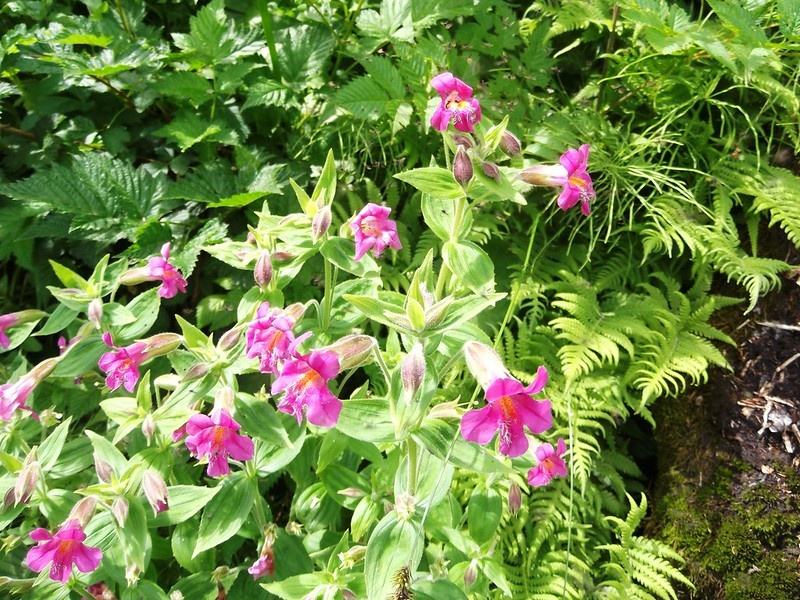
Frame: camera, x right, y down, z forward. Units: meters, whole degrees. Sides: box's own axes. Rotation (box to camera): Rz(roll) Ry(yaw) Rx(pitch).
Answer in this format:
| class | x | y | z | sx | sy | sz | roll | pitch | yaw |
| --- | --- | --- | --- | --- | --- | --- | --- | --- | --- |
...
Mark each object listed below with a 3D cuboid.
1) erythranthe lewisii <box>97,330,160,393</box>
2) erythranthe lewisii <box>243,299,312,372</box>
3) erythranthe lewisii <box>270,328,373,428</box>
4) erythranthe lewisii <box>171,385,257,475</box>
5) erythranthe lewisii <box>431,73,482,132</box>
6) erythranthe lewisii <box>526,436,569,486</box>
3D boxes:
| class | x | y | z | sx | sy | sz | roll | pitch | yaw |
| --- | --- | --- | --- | --- | --- | --- | --- | --- | --- |
| erythranthe lewisii | -1.098 | 0.221 | 2.898 | 0.216 | 0.101 | 0.253 | 53 | 28 | -8 |
| erythranthe lewisii | -0.468 | 0.088 | 2.608 | 0.222 | 0.269 | 0.123 | 6 | 94 | -32 |
| erythranthe lewisii | -0.284 | 0.287 | 2.499 | 0.355 | 0.120 | 0.262 | -37 | 90 | -28 |
| erythranthe lewisii | -0.680 | 0.488 | 2.631 | 0.234 | 0.152 | 0.358 | 4 | 85 | -19 |
| erythranthe lewisii | 0.227 | -0.736 | 2.530 | 0.226 | 0.222 | 0.088 | -22 | 59 | -9 |
| erythranthe lewisii | 0.567 | 0.656 | 2.729 | 0.170 | 0.056 | 0.197 | -33 | 122 | -35 |
